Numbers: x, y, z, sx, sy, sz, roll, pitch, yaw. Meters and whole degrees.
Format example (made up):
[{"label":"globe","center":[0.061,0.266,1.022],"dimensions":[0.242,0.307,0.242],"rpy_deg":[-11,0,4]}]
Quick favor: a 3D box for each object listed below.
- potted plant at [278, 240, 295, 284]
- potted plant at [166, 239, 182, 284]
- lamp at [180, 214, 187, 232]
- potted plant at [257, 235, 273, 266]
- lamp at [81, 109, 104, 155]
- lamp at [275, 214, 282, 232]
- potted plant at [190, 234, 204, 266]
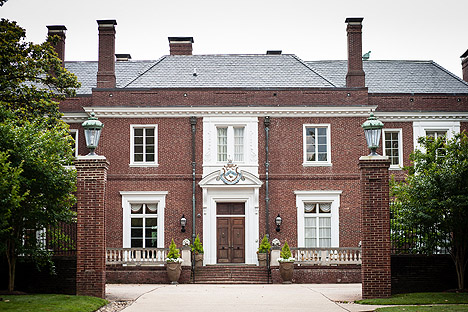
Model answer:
[{"label":"potted plant","center":[2.731,5.555,52.404],"dimensions":[0.833,2.206,0.784],"rpy_deg":[-2,-11,5]},{"label":"potted plant","center":[-3.104,5.518,52.183],"dimensions":[0.812,2.286,0.789],"rpy_deg":[0,-11,-4]},{"label":"lamp","center":[-2.806,3.723,55.745],"dimensions":[0.357,0.978,0.358],"rpy_deg":[0,-11,-6]},{"label":"potted plant","center":[1.657,5.176,54.375],"dimensions":[0.768,1.495,0.788],"rpy_deg":[5,-5,-38]},{"label":"lamp","center":[-6.249,-1.089,44.478],"dimensions":[0.840,2.218,1.842],"rpy_deg":[1,-11,-9]},{"label":"lamp","center":[2.503,3.690,55.844],"dimensions":[0.400,1.001,0.386],"rpy_deg":[-1,-11,0]},{"label":"potted plant","center":[-2.020,5.134,54.029],"dimensions":[0.526,1.641,1.017],"rpy_deg":[-7,-12,29]}]
